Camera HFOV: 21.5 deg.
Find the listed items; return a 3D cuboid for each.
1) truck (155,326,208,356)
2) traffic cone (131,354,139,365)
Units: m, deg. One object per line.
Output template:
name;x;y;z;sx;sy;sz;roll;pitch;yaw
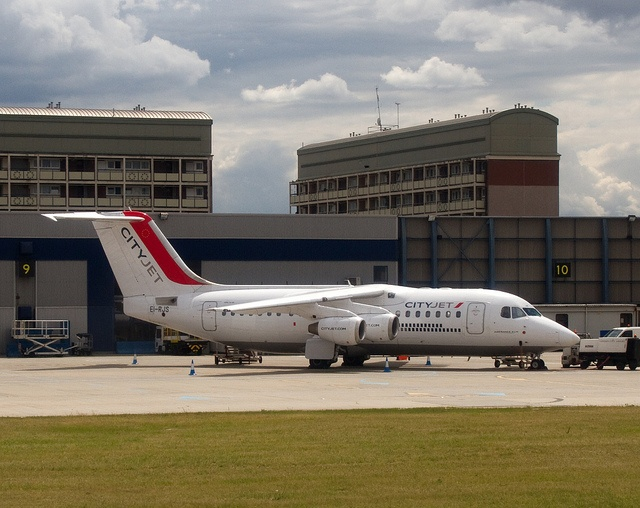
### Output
truck;-8.737;5.449;105.047;2.759;1.259;1.694;4;0;-8
traffic cone;-10.707;6.078;95.980;0.551;0.710;0.535;-1;-2;2
